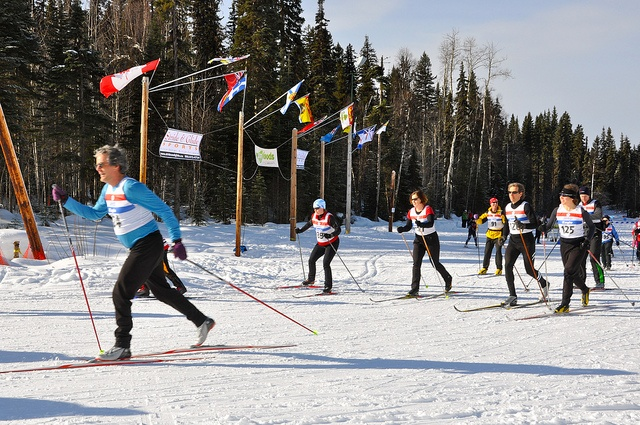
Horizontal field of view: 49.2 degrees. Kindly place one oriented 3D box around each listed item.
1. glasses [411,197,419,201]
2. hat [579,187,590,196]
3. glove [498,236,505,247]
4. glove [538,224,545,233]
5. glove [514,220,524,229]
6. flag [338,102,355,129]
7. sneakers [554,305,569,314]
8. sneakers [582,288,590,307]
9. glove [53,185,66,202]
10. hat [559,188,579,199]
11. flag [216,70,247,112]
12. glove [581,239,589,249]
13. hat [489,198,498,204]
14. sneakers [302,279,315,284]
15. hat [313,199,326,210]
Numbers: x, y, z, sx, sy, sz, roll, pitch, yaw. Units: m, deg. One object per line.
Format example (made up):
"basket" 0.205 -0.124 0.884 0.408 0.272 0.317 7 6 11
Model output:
"glasses" 3.710 -0.554 27.294 0.296 0.075 0.091 1 3 41
"hat" 10.491 -0.858 27.709 0.298 0.320 0.406 2 11 23
"glove" 7.371 1.166 28.460 0.350 0.464 0.404 -4 -10 9
"glove" 8.321 0.606 26.204 0.199 0.335 0.121 8 1 39
"glove" 7.464 0.426 26.265 0.390 0.375 0.177 2 3 44
"flag" 1.463 -5.317 38.472 0.598 1.500 0.876 0 2 8
"sneakers" 8.799 3.568 25.691 0.637 0.303 0.216 -2 2 -12
"sneakers" 10.002 3.234 26.334 0.286 0.700 0.230 1 11 8
"glove" -8.810 -0.650 23.480 0.429 0.592 0.271 5 -23 -34
"hat" 9.264 -0.697 26.010 0.519 0.280 0.394 -1 -4 26
"flag" -3.945 -5.538 31.577 1.280 1.694 0.710 -1 2 -20
"glove" 9.845 1.185 25.898 0.288 0.316 0.298 1 4 11
"hat" 7.621 -0.552 30.710 0.234 0.257 0.327 -13 -12 11
"sneakers" -0.493 2.873 28.689 0.456 0.202 0.173 4 0 1
"hat" -0.022 -0.314 28.248 0.322 0.356 0.454 -1 -24 27
